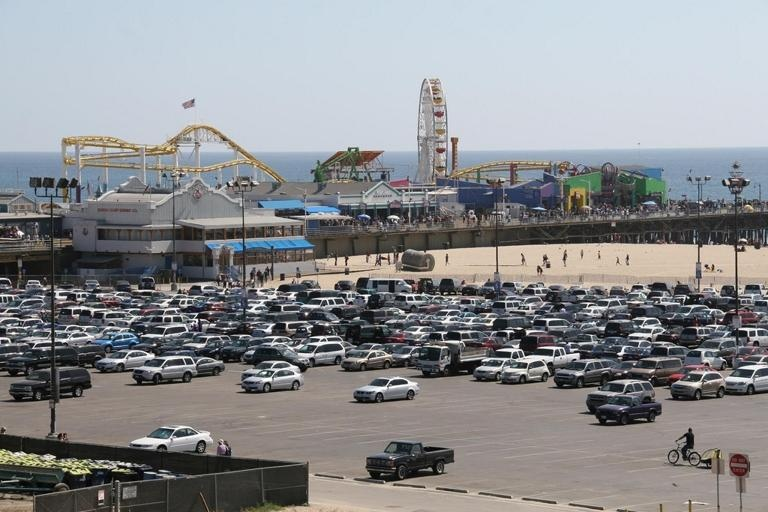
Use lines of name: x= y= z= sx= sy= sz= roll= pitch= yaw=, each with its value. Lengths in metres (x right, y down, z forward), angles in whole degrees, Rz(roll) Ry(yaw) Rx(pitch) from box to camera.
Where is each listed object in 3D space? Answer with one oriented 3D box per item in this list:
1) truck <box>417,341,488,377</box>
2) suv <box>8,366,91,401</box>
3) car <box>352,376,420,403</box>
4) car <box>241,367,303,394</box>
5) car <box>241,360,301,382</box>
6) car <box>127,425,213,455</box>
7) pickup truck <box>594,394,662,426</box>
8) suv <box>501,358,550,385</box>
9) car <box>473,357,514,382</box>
truck: x=5.345 y=7.897 z=136.652 sx=2.909 sy=2.364 sz=6.363 roll=3 pitch=3 yaw=35
suv: x=-24.259 y=9.293 z=128.204 sx=5.117 sy=1.806 sz=2.659 roll=1 pitch=-2 yaw=-31
car: x=0.167 y=9.661 z=126.984 sx=4.444 sy=1.192 sz=1.846 roll=1 pitch=0 yaw=-29
car: x=-8.199 y=9.216 z=129.935 sx=4.151 sy=1.136 sz=1.795 roll=1 pitch=0 yaw=-29
car: x=-8.355 y=8.593 z=131.215 sx=4.229 sy=1.148 sz=1.650 roll=2 pitch=1 yaw=-14
car: x=-13.914 y=12.056 z=115.421 sx=4.914 sy=1.359 sz=2.059 roll=5 pitch=-3 yaw=-25
pickup truck: x=17.069 y=10.654 z=121.614 sx=4.108 sy=1.259 sz=2.037 roll=2 pitch=-3 yaw=-39
suv: x=10.565 y=8.763 z=132.765 sx=3.225 sy=1.189 sz=1.700 roll=1 pitch=-2 yaw=-39
car: x=8.163 y=8.575 z=133.002 sx=1.408 sy=0.894 sz=2.972 roll=0 pitch=-1 yaw=31
